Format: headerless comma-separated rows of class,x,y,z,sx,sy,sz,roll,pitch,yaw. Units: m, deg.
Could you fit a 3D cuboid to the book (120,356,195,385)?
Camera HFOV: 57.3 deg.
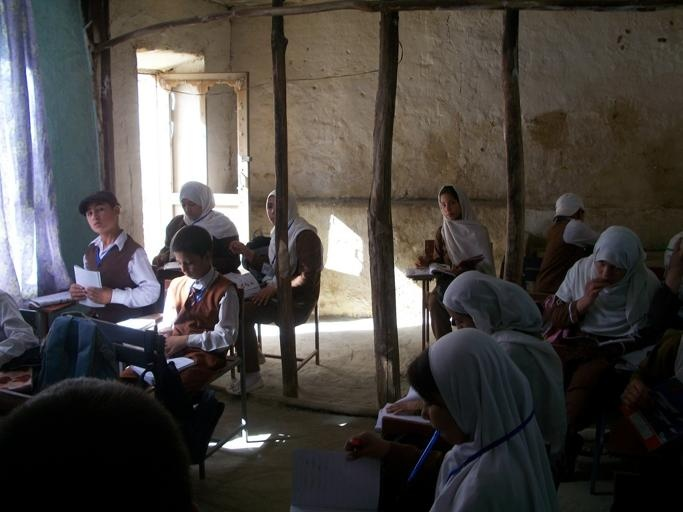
book,-1.121,0.705,3.894,0.240,0.101,0.248,-1,-2,24

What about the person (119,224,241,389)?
person,-0.967,0.315,4.250,0.511,1.035,0.711,-5,10,-27

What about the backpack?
backpack,-1.448,0.519,3.370,0.403,0.456,0.257,-1,2,-10

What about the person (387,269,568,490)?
person,0.874,0.560,4.025,1.015,1.708,0.993,4,7,17

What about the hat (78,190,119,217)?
hat,-1.930,-0.419,4.949,0.279,0.178,0.142,-4,10,-21

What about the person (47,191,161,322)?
person,-2.003,0.014,5.143,0.805,1.345,0.670,-16,-15,31

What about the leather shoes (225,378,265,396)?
leather shoes,-0.832,1.107,5.396,0.313,0.129,0.144,1,1,-40

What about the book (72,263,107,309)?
book,-1.929,0.249,4.768,0.182,0.351,0.231,-5,10,-24

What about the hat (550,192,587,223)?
hat,2.182,-0.481,5.940,0.200,0.175,0.286,-5,5,36
